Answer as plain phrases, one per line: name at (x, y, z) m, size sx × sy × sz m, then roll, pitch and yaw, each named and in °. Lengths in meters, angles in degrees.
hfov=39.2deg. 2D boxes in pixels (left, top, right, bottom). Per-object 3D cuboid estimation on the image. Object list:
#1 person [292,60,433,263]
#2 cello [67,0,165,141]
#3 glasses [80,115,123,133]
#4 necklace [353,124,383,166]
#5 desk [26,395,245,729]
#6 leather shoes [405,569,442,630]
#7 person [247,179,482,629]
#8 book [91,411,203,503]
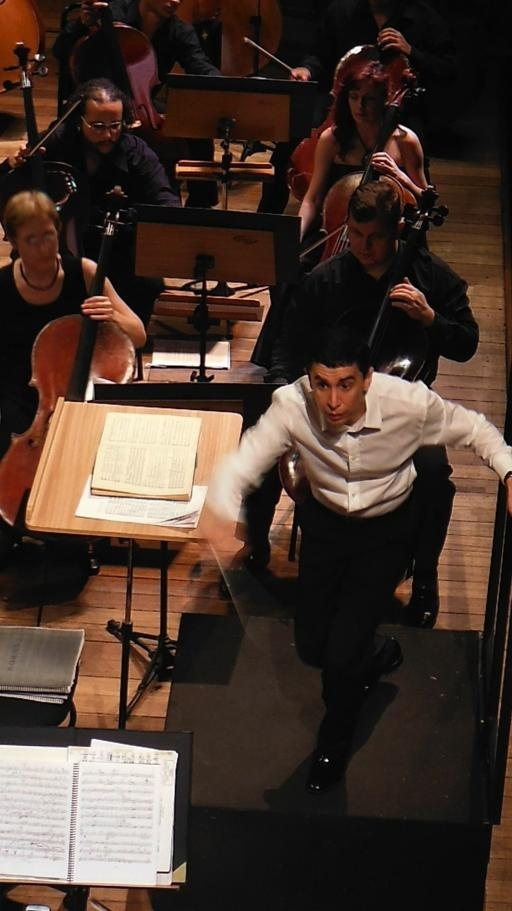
person at (0.457, -1.358, 3.129) m, size 0.552 × 1.124 × 0.378 m, roll 8°, pitch 12°, yaw 4°
cello at (-0.718, -1.948, 3.684) m, size 0.445 × 0.888 × 0.303 m, roll -12°, pitch 17°, yaw -20°
glasses at (-0.639, -1.384, 3.010) m, size 0.161 × 0.059 × 0.060 m, roll -14°, pitch 39°, yaw -18°
necklace at (0.482, -1.329, 3.119) m, size 0.085 × 0.171 × 0.040 m, roll 7°, pitch 5°, yaw 31°
desk at (-0.304, 0.289, 1.820) m, size 0.557 × 0.903 × 0.613 m, roll 7°, pitch 55°, yaw 2°
leather shoes at (0.505, 0.439, 2.144) m, size 0.095 × 0.180 × 0.043 m, roll 7°, pitch 22°, yaw 2°
person at (0.419, -0.198, 2.567) m, size 0.728 × 1.448 × 0.627 m, roll 4°, pitch 18°, yaw 13°
book at (-0.229, 0.002, 1.518) m, size 0.202 × 0.041 × 0.238 m, roll 1°, pitch 38°, yaw 0°
